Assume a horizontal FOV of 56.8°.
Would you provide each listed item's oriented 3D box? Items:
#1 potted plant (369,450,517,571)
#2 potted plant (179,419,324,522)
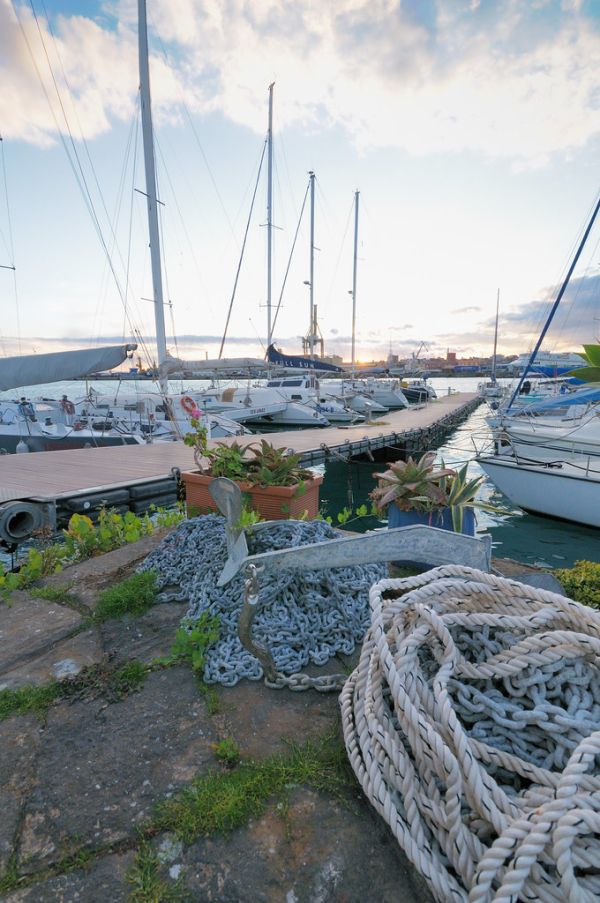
[{"bbox_3d":[0.777,0.325,3.905,0.622,0.522,0.604,-2,23,9],"label":"potted plant"},{"bbox_3d":[-0.343,0.324,4.538,0.966,0.758,0.605,4,0,28],"label":"potted plant"}]
